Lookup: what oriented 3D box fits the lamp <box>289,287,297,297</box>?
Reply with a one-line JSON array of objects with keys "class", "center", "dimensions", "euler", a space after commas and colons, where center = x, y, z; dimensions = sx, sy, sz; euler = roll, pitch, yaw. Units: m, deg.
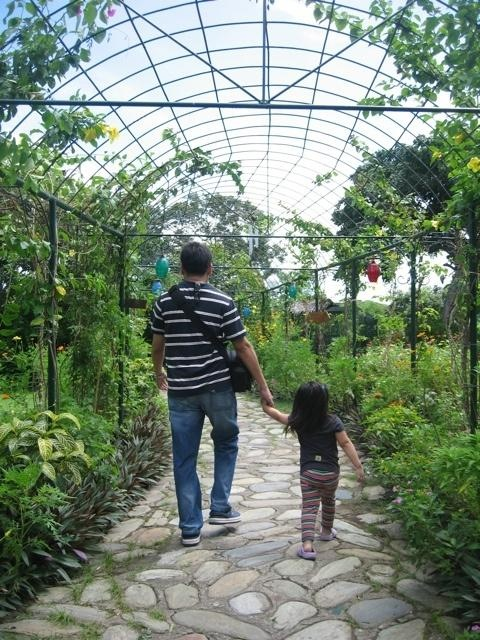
[{"class": "lamp", "center": [1.018, -0.535, 10.029], "dimensions": [0.057, 0.169, 0.185], "euler": [5, -36, -26]}]

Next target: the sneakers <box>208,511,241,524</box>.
[{"class": "sneakers", "center": [-0.090, 1.165, 3.091], "dimensions": [0.208, 0.089, 0.076], "euler": [7, -14, -37]}]

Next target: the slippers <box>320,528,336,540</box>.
[{"class": "slippers", "center": [0.494, 1.191, 2.911], "dimensions": [0.039, 0.047, 0.105], "euler": [1, 0, 35]}]

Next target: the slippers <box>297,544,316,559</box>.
[{"class": "slippers", "center": [0.347, 1.173, 2.637], "dimensions": [0.044, 0.047, 0.117], "euler": [-1, -6, -6]}]

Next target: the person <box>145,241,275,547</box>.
[{"class": "person", "center": [-0.185, 0.402, 2.993], "dimensions": [0.676, 1.685, 0.293], "euler": [-2, -1, 0]}]

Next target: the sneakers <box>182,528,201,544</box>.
[{"class": "sneakers", "center": [-0.274, 1.200, 2.901], "dimensions": [0.110, 0.088, 0.132], "euler": [-2, -2, -7]}]
